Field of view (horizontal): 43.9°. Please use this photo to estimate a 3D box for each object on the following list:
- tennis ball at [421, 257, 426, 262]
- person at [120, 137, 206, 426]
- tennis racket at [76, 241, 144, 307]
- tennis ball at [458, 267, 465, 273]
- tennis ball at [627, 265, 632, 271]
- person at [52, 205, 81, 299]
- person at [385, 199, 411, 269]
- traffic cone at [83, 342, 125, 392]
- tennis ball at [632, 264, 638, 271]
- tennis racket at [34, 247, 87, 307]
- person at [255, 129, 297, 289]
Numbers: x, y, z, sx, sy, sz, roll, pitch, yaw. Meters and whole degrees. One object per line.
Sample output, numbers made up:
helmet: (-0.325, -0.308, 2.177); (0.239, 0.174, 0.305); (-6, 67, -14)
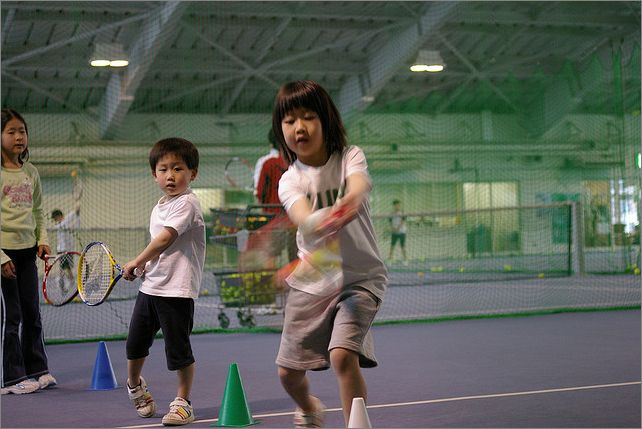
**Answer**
tennis ball: (2.527, 1.109, 19.516); (0.088, 0.091, 0.163); (-5, -12, 16)
person: (-1.680, 0.699, 8.752); (0.956, 3.027, 1.007); (3, 11, -2)
tennis racket: (-2.518, 0.669, 9.171); (0.565, 0.811, 0.374); (0, -2, -38)
tennis ball: (3.319, 1.293, 18.581); (0.076, 0.040, 0.110); (0, 11, 6)
tennis ball: (6.009, 1.043, 15.441); (0.064, 0.091, 0.065); (6, 13, -1)
person: (-4.396, 0.666, 13.795); (0.323, 1.845, 0.285); (0, 0, 31)
person: (1.922, 0.448, 19.304); (0.565, 2.014, 0.594); (-1, 8, -2)
traffic cone: (-2.595, 1.769, 9.478); (0.336, 0.581, 0.399); (-3, 8, -17)
tennis ball: (6.083, 1.036, 15.356); (0.074, 0.133, 0.258); (0, 7, 9)
tennis racket: (-3.678, 0.919, 11.318); (0.657, 1.143, 0.601); (-3, 2, -28)
person: (-0.712, -0.210, 12.573); (0.629, 2.727, 0.500); (0, 10, -6)
